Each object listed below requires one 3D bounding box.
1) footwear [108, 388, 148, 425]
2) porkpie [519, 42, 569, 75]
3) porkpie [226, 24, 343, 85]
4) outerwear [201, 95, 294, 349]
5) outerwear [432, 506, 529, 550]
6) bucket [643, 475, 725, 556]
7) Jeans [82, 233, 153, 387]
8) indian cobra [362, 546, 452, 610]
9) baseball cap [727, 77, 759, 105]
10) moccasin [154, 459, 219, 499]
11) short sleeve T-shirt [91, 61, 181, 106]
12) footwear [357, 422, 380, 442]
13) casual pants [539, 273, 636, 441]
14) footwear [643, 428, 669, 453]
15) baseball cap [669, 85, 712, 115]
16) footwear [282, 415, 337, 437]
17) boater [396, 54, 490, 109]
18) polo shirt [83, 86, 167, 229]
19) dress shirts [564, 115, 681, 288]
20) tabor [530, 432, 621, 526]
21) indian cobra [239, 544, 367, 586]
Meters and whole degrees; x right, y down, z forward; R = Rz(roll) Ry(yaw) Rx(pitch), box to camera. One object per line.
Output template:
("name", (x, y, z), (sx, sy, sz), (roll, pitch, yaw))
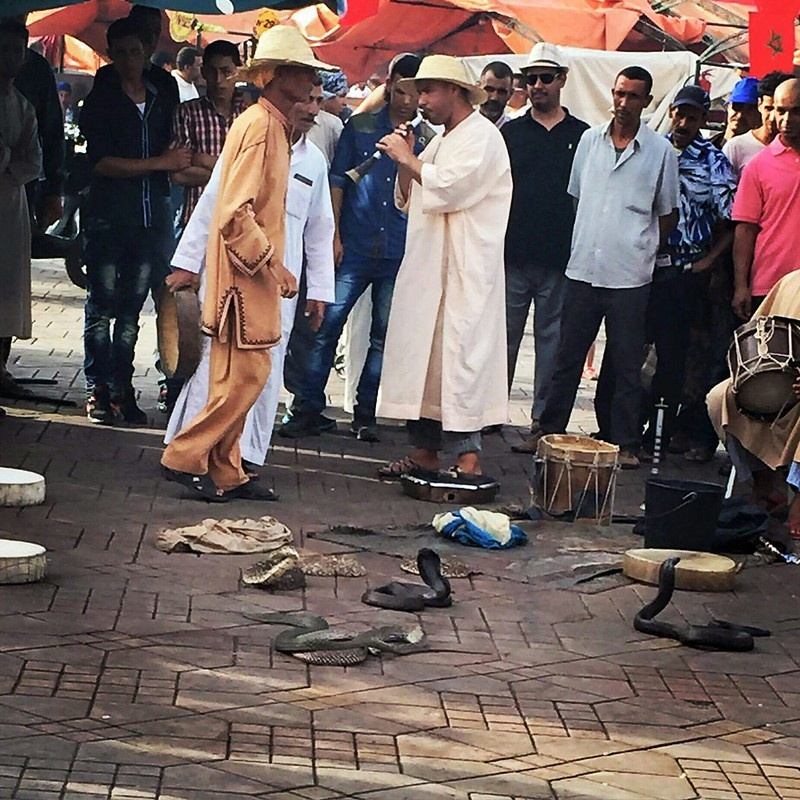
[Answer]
("footwear", (-2.137, 0.051, 8.169), (0.279, 0.262, 0.323), (4, 10, -27))
("porkpie", (1.174, -2.794, 8.315), (0.361, 0.266, 0.440), (7, 8, -3))
("porkpie", (-0.685, -2.010, 5.977), (0.556, 0.173, 0.463), (-7, 7, -19))
("outerwear", (-0.862, -1.037, 6.015), (0.523, 1.486, 0.416), (9, 12, -12))
("outerwear", (0.466, 0.710, 5.693), (0.396, 0.087, 0.279), (7, -1, -16))
("bucket", (1.483, 0.625, 5.575), (0.552, 0.270, 0.460), (2, 3, 6))
("Jeans", (-2.314, -0.701, 8.149), (0.556, 1.343, 0.431), (9, 12, -14))
("indian cobra", (0.012, 0.811, 4.579), (0.383, 0.128, 0.231), (-4, 10, -3))
("baseball cap", (3.002, -2.691, 8.932), (0.284, 0.152, 0.365), (12, 11, 23))
("moccasin", (-1.256, 0.488, 6.200), (0.354, 0.070, 0.194), (10, -5, 18))
("short sleeve T-shirt", (-2.086, -2.550, 8.226), (0.450, 0.153, 0.557), (-5, 16, -43))
("footwear", (-0.279, 0.275, 8.310), (0.117, 0.080, 0.219), (0, 12, -8))
("casual pants", (1.593, -0.281, 8.147), (0.882, 1.305, 0.402), (13, 11, 14))
("footwear", (2.142, 0.335, 8.649), (0.298, 0.252, 0.246), (1, 2, 13))
("baseball cap", (2.248, -2.348, 7.952), (0.248, 0.125, 0.303), (16, 6, 15))
("footwear", (-0.753, 0.203, 8.340), (0.509, 0.161, 0.156), (-10, 15, -31))
("boater", (0.337, -2.078, 6.554), (0.475, 0.278, 0.309), (6, 9, -5))
("polo shirt", (-2.171, -1.910, 8.065), (0.769, 1.159, 0.294), (7, 12, -15))
("dress shirts", (1.691, -1.515, 8.008), (0.888, 1.298, 0.417), (12, 11, 12))
("tabor", (1.149, 0.455, 6.519), (0.735, 0.471, 0.601), (9, 17, 15))
("indian cobra", (-0.479, 0.794, 4.776), (0.361, 0.065, 0.288), (-1, 1, -37))
